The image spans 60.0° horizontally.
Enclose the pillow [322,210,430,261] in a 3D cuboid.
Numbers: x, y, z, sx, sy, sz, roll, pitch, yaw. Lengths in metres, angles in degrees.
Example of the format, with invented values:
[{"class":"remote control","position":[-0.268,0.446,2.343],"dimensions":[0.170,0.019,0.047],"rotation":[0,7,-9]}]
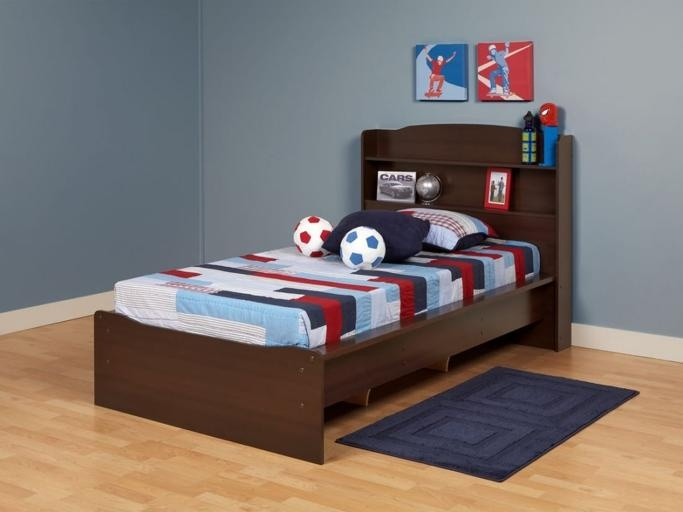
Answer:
[{"class":"pillow","position":[0.278,-0.158,3.569],"dimensions":[0.431,0.168,0.454],"rotation":[10,17,36]}]

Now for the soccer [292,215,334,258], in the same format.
[{"class":"soccer","position":[-0.179,-0.122,3.647],"dimensions":[0.318,0.262,0.256],"rotation":[3,-3,10]}]

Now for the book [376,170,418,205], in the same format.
[{"class":"book","position":[0.440,-0.531,4.558],"dimensions":[0.054,0.227,0.390],"rotation":[-10,15,-42]}]

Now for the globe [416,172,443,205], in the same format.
[{"class":"globe","position":[0.653,-0.505,4.385],"dimensions":[0.287,0.230,0.216],"rotation":[3,-1,-4]}]
